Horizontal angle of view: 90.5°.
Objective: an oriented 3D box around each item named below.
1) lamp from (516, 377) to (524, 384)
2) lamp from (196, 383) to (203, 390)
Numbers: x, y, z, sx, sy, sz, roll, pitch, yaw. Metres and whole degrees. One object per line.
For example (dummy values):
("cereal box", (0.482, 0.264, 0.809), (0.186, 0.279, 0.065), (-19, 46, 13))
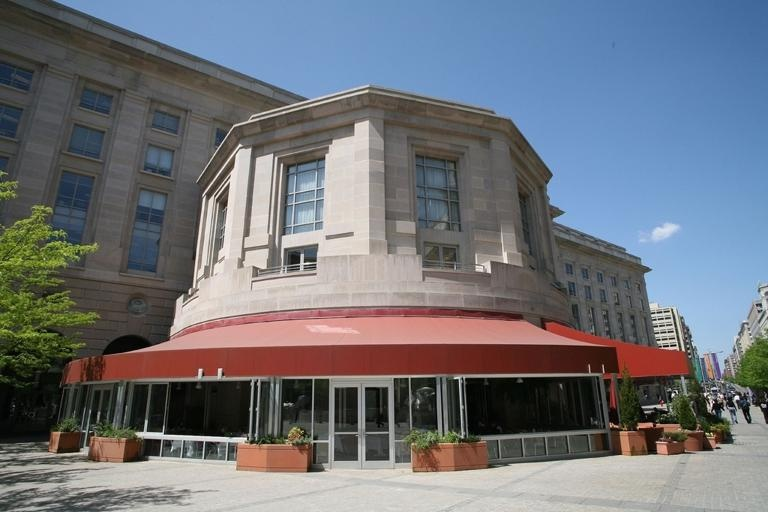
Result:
("lamp", (6.490, 5.941, 18.227), (0.382, 0.388, 0.388), (-5, -17, 9))
("lamp", (-8.880, 6.230, 18.194), (0.437, 0.283, 0.105), (-13, -25, 26))
